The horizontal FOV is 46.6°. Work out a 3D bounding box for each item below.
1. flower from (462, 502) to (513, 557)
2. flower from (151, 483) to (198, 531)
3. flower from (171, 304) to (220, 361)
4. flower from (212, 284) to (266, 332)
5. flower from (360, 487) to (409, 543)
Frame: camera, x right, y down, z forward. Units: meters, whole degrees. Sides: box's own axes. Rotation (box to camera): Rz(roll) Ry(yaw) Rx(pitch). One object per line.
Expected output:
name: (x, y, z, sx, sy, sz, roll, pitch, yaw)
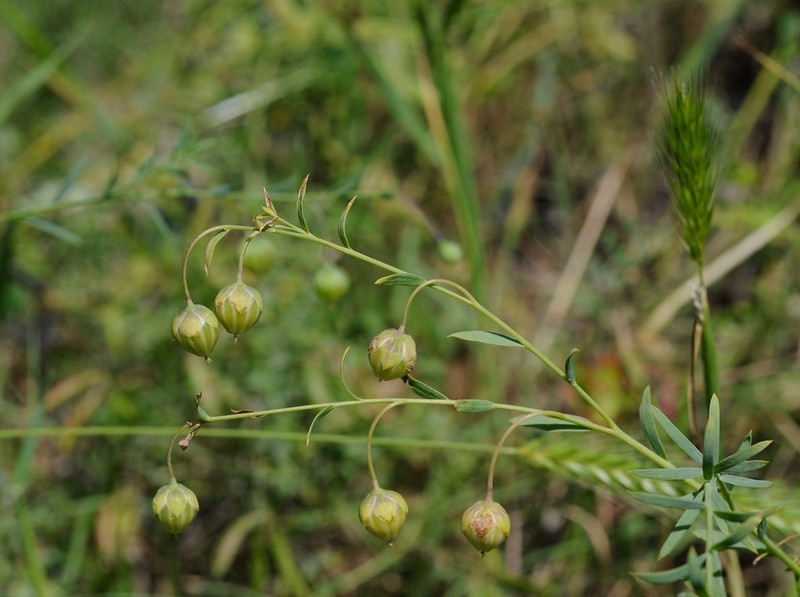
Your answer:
flower: (0.221, 0.578, 2.383, 0.107, 0.124, 0.144, 2, 92, 0)
flower: (-0.581, 0.552, 2.450, 0.103, 0.123, 0.136, 0, 95, 3)
flower: (-0.511, 0.081, 2.421, 0.112, 0.134, 0.164, -1, 104, 14)
flower: (-0.419, 0.017, 2.397, 0.125, 0.151, 0.160, 6, 93, -20)
flower: (-0.040, 0.558, 2.377, 0.122, 0.116, 0.144, -6, 84, -27)
